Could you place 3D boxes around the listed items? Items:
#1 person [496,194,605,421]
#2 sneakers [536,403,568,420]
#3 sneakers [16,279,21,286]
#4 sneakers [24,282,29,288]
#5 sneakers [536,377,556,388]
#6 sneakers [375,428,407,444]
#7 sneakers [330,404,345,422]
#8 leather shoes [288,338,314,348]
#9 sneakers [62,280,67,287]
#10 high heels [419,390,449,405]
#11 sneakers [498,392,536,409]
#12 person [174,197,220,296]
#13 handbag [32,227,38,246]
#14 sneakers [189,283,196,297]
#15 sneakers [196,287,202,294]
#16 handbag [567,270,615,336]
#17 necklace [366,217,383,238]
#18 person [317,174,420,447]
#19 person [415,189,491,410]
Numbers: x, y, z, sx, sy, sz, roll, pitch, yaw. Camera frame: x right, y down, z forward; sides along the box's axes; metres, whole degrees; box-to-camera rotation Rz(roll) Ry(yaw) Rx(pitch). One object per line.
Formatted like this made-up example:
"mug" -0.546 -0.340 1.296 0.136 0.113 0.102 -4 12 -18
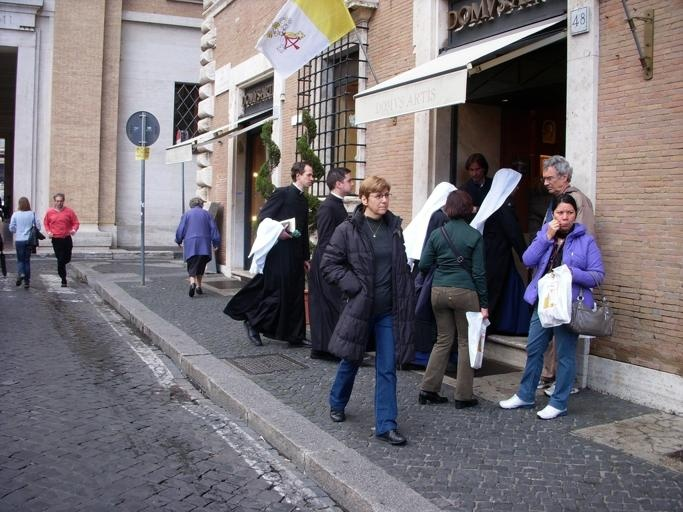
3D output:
"person" 2.049 0.468 6.061 0.767 2.112 0.606 5 9 39
"sneakers" 1.994 1.484 6.055 0.311 0.133 0.113 0 -2 -16
"sneakers" -7.118 0.560 13.865 0.100 0.175 0.304 -4 8 -28
"sneakers" -6.900 0.646 13.793 0.076 0.096 0.224 1 -5 -22
"sneakers" 2.248 1.397 6.946 0.085 0.104 0.240 1 -9 -13
"sneakers" 0.426 1.538 5.403 0.232 0.116 0.110 -4 -4 44
"sneakers" -0.040 1.444 5.813 0.106 0.136 0.322 1 -11 -1
"leather shoes" -0.573 1.160 8.631 0.292 0.135 0.126 -3 6 -18
"sneakers" -6.336 0.621 14.371 0.075 0.157 0.223 -1 7 -27
"high heels" 0.891 1.406 6.345 0.346 0.157 0.116 -1 4 -11
"sneakers" 1.733 1.425 6.307 0.378 0.168 0.139 4 -2 6
"person" -2.999 -0.220 13.137 0.868 1.910 1.558 -2 7 -12
"handbag" -6.851 -0.434 14.040 0.137 0.373 0.308 -4 8 -26
"sneakers" -2.973 0.680 12.429 0.107 0.299 0.126 6 1 1
"sneakers" -2.907 0.703 12.780 0.127 0.138 0.318 1 -4 -8
"handbag" 2.321 0.486 5.859 0.389 0.532 0.156 8 -10 2
"necklace" 0.285 -0.263 5.641 0.127 0.183 0.093 4 -10 -20
"person" 0.238 0.432 5.546 0.788 2.232 0.608 2 7 19
"person" 1.093 0.430 6.222 0.651 2.123 0.406 1 7 11
